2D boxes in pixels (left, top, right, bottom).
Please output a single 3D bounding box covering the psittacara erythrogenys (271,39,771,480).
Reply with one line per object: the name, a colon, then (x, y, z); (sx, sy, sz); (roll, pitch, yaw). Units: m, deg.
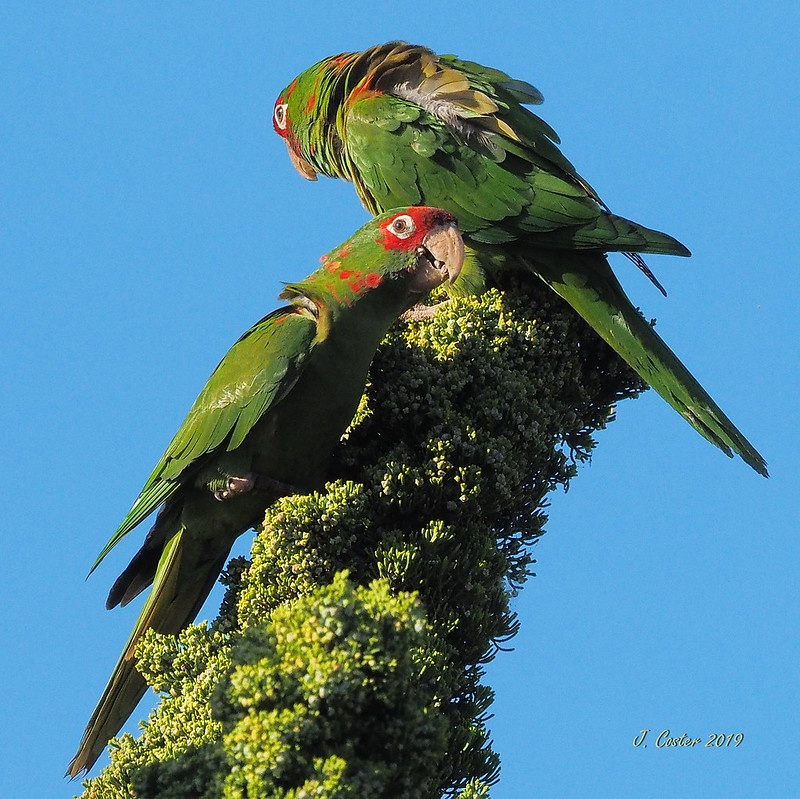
psittacara erythrogenys: (0.513, -0.583, 7.846); (2.463, 0.878, 1.941); (-4, -84, 26)
